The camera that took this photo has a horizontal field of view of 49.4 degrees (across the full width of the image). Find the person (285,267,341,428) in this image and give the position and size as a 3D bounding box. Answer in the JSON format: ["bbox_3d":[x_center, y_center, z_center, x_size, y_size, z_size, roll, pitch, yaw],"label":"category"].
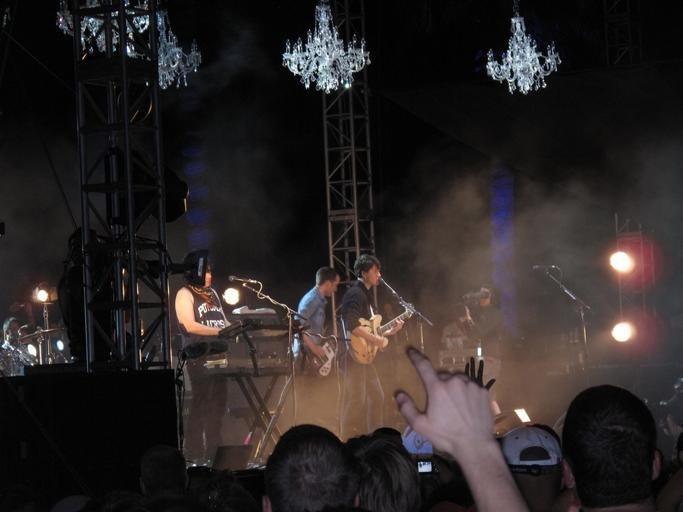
[{"bbox_3d":[-0.311,1.177,8.971,0.719,0.790,2.538,-8,-62,-13],"label":"person"}]

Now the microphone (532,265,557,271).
[{"bbox_3d":[3.255,0.192,11.849,0.477,0.139,0.054,-2,-13,-26],"label":"microphone"}]

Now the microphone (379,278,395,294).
[{"bbox_3d":[0.705,0.466,11.576,0.056,0.133,0.381,-55,-32,-16],"label":"microphone"}]

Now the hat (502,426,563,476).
[{"bbox_3d":[1.000,1.028,3.890,0.333,0.266,0.255,-7,0,32],"label":"hat"}]

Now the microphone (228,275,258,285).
[{"bbox_3d":[-1.376,0.336,10.167,0.609,0.133,0.120,-1,-12,44],"label":"microphone"}]

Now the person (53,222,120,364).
[{"bbox_3d":[-2.320,0.365,6.790,0.574,1.106,1.156,10,-56,-14],"label":"person"}]
